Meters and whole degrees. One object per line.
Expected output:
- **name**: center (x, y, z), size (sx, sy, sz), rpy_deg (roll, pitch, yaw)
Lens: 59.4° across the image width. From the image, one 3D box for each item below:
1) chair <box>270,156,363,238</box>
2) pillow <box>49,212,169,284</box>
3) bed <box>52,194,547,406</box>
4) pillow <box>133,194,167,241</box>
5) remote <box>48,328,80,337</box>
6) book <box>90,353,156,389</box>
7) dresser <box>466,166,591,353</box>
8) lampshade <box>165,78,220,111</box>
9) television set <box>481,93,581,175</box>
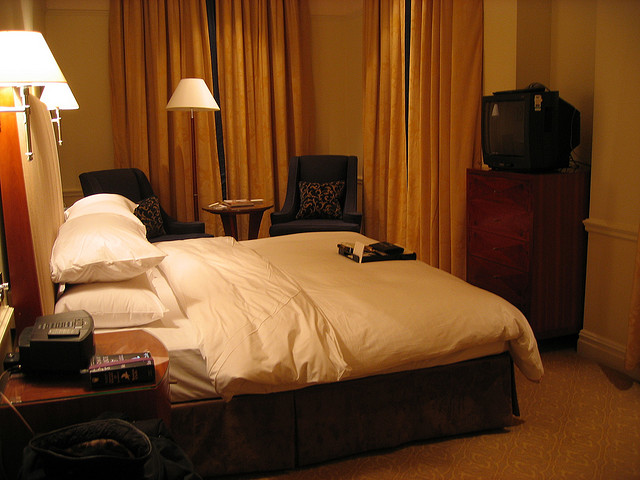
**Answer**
- **chair**: center (-0.019, -0.287, 5.852), size (0.817, 1.250, 0.962), rpy_deg (2, 5, 16)
- **pillow**: center (-1.141, -0.032, 3.130), size (0.576, 0.375, 1.006), rpy_deg (-4, 8, -18)
- **bed**: center (-0.208, 0.384, 3.016), size (1.649, 0.731, 1.765), rpy_deg (-5, 15, -17)
- **pillow**: center (-1.585, -0.218, 5.270), size (0.100, 0.395, 0.364), rpy_deg (-13, -2, 22)
- **remote**: center (-0.975, 0.351, 2.138), size (0.080, 0.019, 0.044), rpy_deg (2, 9, -11)
- **book**: center (-0.767, 0.491, 2.184), size (0.242, 0.091, 0.176), rpy_deg (-7, 17, -16)
- **dresser**: center (1.456, 0.025, 4.213), size (0.632, 1.523, 1.069), rpy_deg (-3, 9, -12)
- **lampshade**: center (-1.247, -1.429, 5.491), size (0.513, 0.312, 0.523), rpy_deg (-5, 8, -41)
- **television set**: center (1.473, -0.771, 4.114), size (0.539, 0.652, 0.706), rpy_deg (-5, 9, -14)
